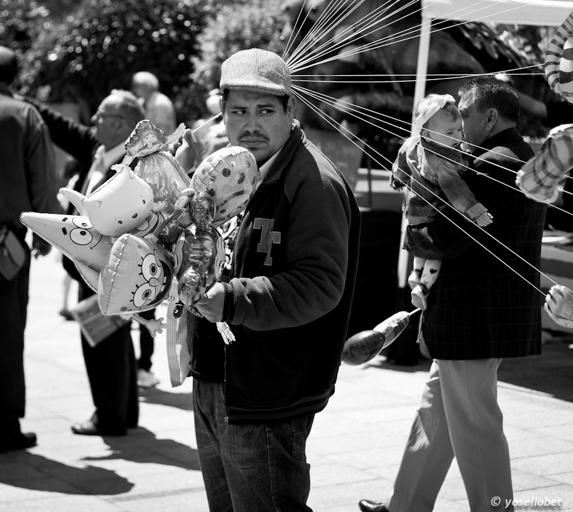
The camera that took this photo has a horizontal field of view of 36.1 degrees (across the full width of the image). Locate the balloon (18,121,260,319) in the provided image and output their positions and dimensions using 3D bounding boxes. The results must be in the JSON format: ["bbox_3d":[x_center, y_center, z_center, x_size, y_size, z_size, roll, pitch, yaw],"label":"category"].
[{"bbox_3d":[-0.411,-0.125,2.951,0.573,0.658,0.450,7,12,38],"label":"balloon"}]

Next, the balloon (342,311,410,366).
[{"bbox_3d":[0.408,0.330,3.685,0.114,0.153,0.560,-7,6,34],"label":"balloon"}]

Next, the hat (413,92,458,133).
[{"bbox_3d":[0.591,-0.616,3.771,0.150,0.170,0.265,-1,9,0],"label":"hat"}]

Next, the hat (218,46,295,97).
[{"bbox_3d":[-0.080,-0.671,3.137,0.225,0.152,0.309,4,9,3],"label":"hat"}]
